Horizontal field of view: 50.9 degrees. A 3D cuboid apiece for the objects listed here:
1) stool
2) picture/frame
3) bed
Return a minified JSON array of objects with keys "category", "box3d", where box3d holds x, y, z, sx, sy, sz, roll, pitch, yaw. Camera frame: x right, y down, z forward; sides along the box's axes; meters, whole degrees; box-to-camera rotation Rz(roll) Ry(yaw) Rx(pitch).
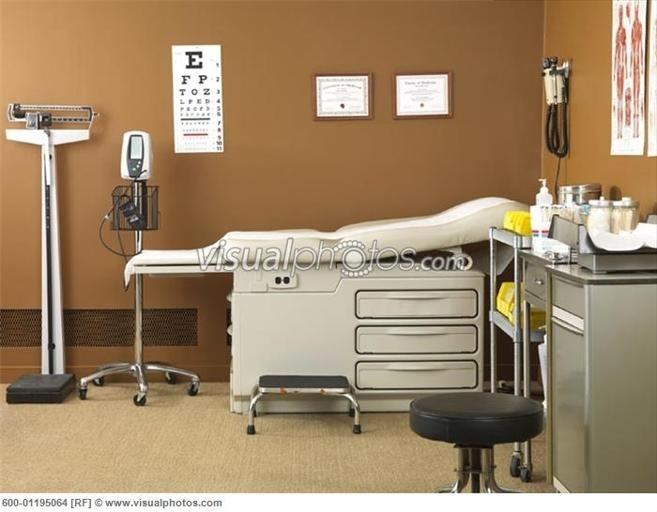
[{"category":"stool","box3d":[0.639,0.884,3.087,0.503,0.436,0.539,-2,-2,24]},{"category":"picture/frame","box3d":[0.381,-1.146,4.902,0.957,0.317,0.054,-2,8,2]},{"category":"bed","box3d":[0.049,-0.066,4.470,2.850,0.726,0.922,1,1,0]}]
